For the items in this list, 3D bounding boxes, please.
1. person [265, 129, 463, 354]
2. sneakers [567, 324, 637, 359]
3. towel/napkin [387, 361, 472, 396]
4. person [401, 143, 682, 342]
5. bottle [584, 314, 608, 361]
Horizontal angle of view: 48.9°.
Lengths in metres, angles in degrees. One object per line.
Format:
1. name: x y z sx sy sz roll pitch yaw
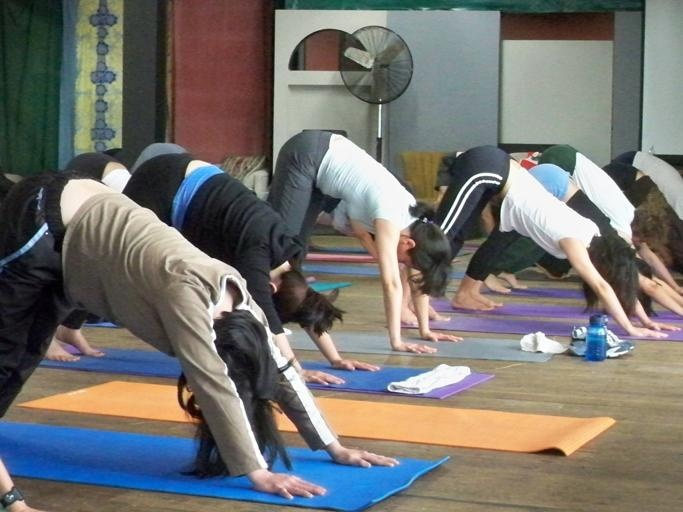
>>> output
1. person: 0.078 -0.142 4.418 1.369 0.821 0.595 25 21 24
2. sneakers: 1.519 0.507 4.376 0.446 0.154 0.156 1 0 4
3. towel/napkin: 0.448 0.596 3.648 0.155 0.033 0.284 7 12 42
4. person: 1.864 -0.143 4.978 2.307 1.263 1.001 3 13 28
5. bottle: 1.464 0.441 4.246 0.117 0.271 0.217 5 10 21
